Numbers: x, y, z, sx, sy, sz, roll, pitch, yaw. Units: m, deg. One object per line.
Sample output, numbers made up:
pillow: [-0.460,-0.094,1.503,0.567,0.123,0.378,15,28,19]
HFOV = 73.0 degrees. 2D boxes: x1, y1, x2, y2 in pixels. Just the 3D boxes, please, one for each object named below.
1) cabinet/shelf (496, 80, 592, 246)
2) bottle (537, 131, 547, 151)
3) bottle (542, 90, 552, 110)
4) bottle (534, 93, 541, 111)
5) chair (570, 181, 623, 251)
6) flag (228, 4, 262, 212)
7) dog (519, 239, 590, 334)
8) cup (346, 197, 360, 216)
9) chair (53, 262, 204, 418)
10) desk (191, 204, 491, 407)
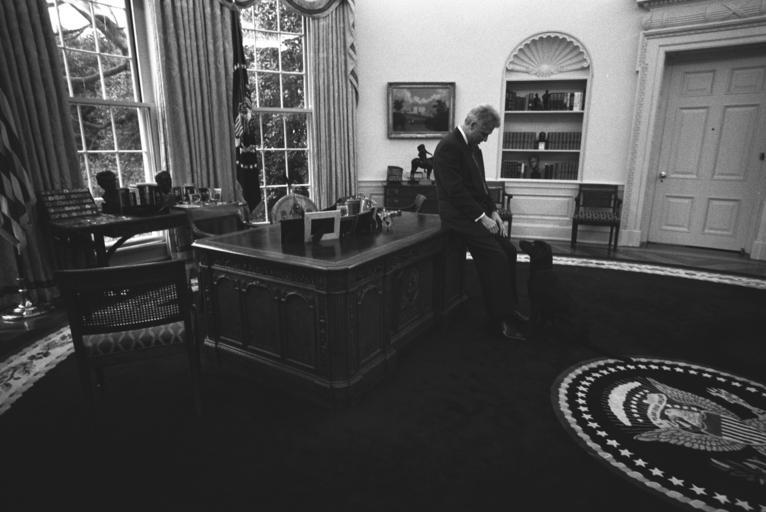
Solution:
cabinet/shelf: [2.367,-1.412,7.768,1.200,2.801,0.314,4,-20,15]
bottle: [2.330,-1.687,7.623,0.154,0.246,0.094,4,16,17]
bottle: [2.364,-2.265,7.542,0.112,0.270,0.214,3,17,13]
bottle: [2.232,-2.199,7.505,0.118,0.187,0.084,-3,16,-5]
chair: [2.944,-0.509,7.156,0.600,0.874,0.890,7,18,24]
flag: [-1.742,-1.760,6.445,0.268,2.445,0.386,-5,16,-15]
dog: [1.563,0.239,4.977,0.310,0.782,1.024,0,2,31]
cup: [-0.269,-0.455,4.749,0.146,0.166,0.152,0,9,0]
chair: [-1.840,0.657,3.784,0.649,1.138,0.773,-9,32,-19]
desk: [-0.616,0.018,4.207,1.333,0.845,2.061,9,16,31]
